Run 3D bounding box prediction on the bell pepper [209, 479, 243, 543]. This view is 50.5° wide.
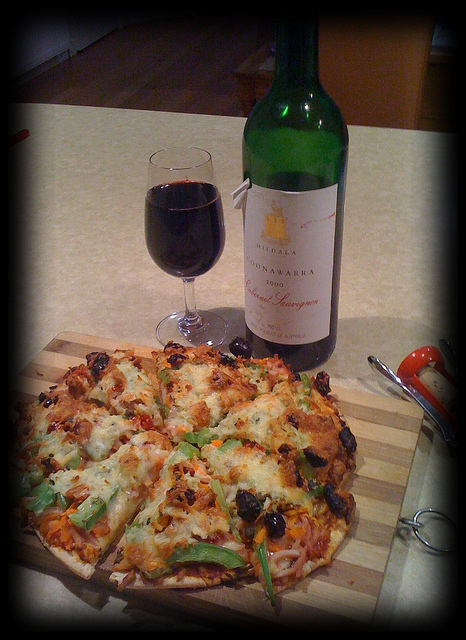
[{"bbox_3d":[-0.011,0.184,0.498,0.014,0.013,0.096,-17,64,-2],"label":"bell pepper"}]

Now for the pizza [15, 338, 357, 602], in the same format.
[{"bbox_3d":[-0.055,0.148,0.602,0.361,0.061,0.373,6,25,5],"label":"pizza"}]

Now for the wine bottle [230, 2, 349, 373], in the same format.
[{"bbox_3d":[0.065,-0.115,0.730,0.141,0.586,0.174,-2,25,-2],"label":"wine bottle"}]
